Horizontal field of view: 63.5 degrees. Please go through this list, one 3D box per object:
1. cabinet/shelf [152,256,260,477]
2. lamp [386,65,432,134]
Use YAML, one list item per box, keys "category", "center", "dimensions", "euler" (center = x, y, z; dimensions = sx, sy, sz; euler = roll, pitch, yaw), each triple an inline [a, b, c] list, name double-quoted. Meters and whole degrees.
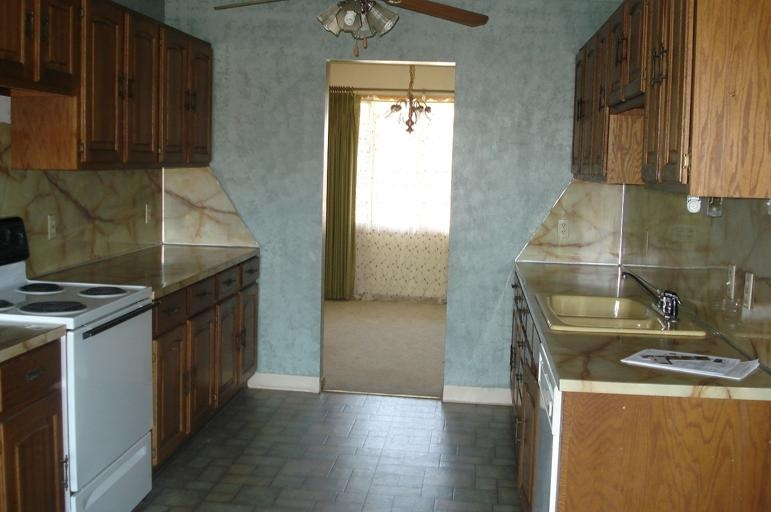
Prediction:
- category: "cabinet/shelf"
  center: [-1.195, 0.736, 4.078]
  dimensions: [0.427, 0.754, 1.235]
  euler: [0, 9, 4]
- category: "lamp"
  center: [0.286, -1.899, 7.528]
  dimensions: [0.551, 0.813, 0.781]
  euler: [2, 11, 3]
